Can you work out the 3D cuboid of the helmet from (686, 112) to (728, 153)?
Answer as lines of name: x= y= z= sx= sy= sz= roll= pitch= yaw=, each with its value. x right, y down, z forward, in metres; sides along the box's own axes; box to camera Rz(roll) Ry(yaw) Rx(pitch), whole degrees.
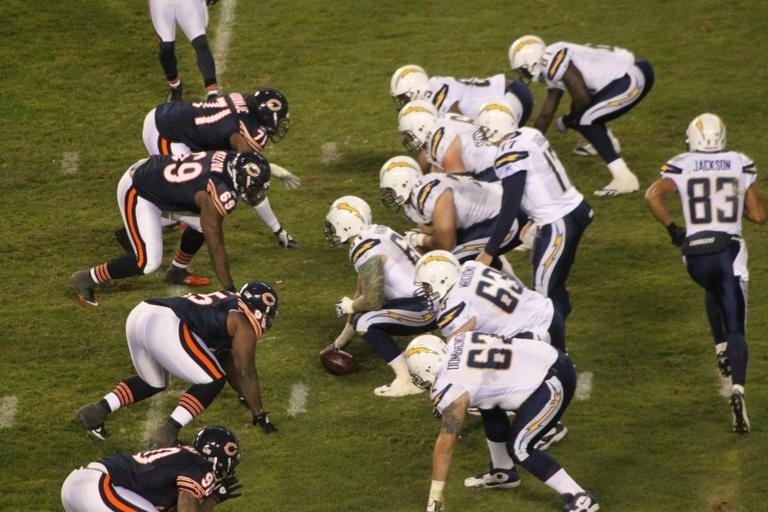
helmet: x=3.195 y=-1.196 z=14.003 sx=0.406 sy=0.406 sz=0.502 roll=-2 pitch=20 yaw=5

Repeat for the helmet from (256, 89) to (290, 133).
helmet: x=-1.153 y=-1.495 z=14.956 sx=0.332 sy=0.497 sz=0.262 roll=-12 pitch=35 yaw=-12

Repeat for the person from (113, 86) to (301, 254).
person: x=-1.820 y=-0.829 z=15.013 sx=1.378 sy=1.631 sz=0.976 roll=19 pitch=40 yaw=-26

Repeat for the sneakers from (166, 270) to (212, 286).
sneakers: x=-2.018 y=0.210 z=14.930 sx=0.534 sy=0.188 sz=0.168 roll=0 pitch=13 yaw=-2

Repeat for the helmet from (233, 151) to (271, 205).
helmet: x=-1.304 y=-0.762 z=14.283 sx=0.371 sy=0.545 sz=0.297 roll=-10 pitch=35 yaw=-9

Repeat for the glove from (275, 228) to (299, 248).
glove: x=-1.022 y=-0.185 z=15.416 sx=0.373 sy=0.120 sz=0.143 roll=21 pitch=6 yaw=-14

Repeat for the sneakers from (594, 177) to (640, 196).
sneakers: x=2.611 y=-0.753 z=15.778 sx=0.350 sy=0.129 sz=0.244 roll=-11 pitch=-3 yaw=33

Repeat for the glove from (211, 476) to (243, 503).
glove: x=-1.399 y=2.076 z=12.755 sx=0.369 sy=0.232 sz=0.146 roll=-1 pitch=-3 yaw=-35

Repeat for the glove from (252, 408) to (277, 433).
glove: x=-1.125 y=1.571 z=13.529 sx=0.228 sy=0.232 sz=0.094 roll=15 pitch=64 yaw=36

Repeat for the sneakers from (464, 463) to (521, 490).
sneakers: x=1.026 y=2.044 z=13.234 sx=0.553 sy=0.183 sz=0.185 roll=2 pitch=3 yaw=1

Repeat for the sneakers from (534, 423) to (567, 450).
sneakers: x=1.539 y=1.662 z=13.176 sx=0.359 sy=0.117 sz=0.160 roll=-36 pitch=4 yaw=-18

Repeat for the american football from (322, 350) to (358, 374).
american football: x=-0.425 y=1.043 z=14.084 sx=0.314 sy=0.068 sz=0.217 roll=18 pitch=49 yaw=-12

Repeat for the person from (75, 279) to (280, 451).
person: x=-1.783 y=1.022 z=13.565 sx=2.000 sy=1.387 sz=1.019 roll=-3 pitch=12 yaw=-33
